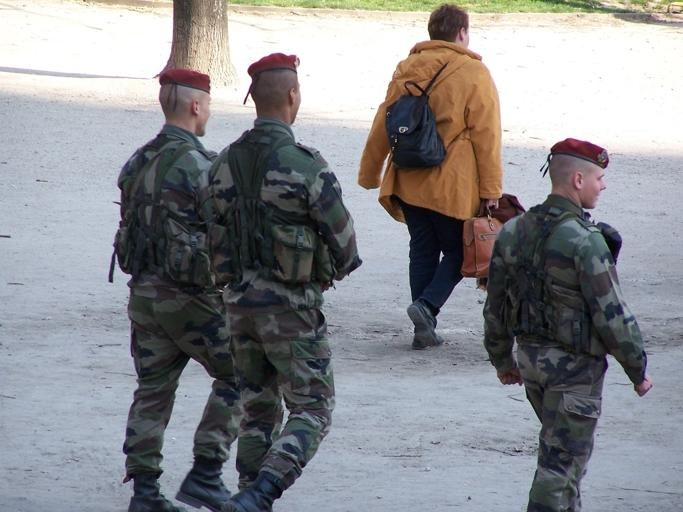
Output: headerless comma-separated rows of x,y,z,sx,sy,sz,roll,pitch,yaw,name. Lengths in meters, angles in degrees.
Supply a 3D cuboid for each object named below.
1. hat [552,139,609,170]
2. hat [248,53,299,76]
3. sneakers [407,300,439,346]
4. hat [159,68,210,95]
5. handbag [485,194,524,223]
1.866,-0.798,11.274,0.340,0.108,0.271,11,1,6,hat
-0.492,-1.490,11.419,0.323,0.095,0.207,-6,6,-15,hat
0.785,0.625,13.558,0.194,0.500,0.218,-2,40,36,sneakers
-1.207,-1.393,11.720,0.310,0.095,0.220,8,-2,-40,hat
1.542,-0.446,13.625,0.330,0.120,0.273,9,14,40,handbag
